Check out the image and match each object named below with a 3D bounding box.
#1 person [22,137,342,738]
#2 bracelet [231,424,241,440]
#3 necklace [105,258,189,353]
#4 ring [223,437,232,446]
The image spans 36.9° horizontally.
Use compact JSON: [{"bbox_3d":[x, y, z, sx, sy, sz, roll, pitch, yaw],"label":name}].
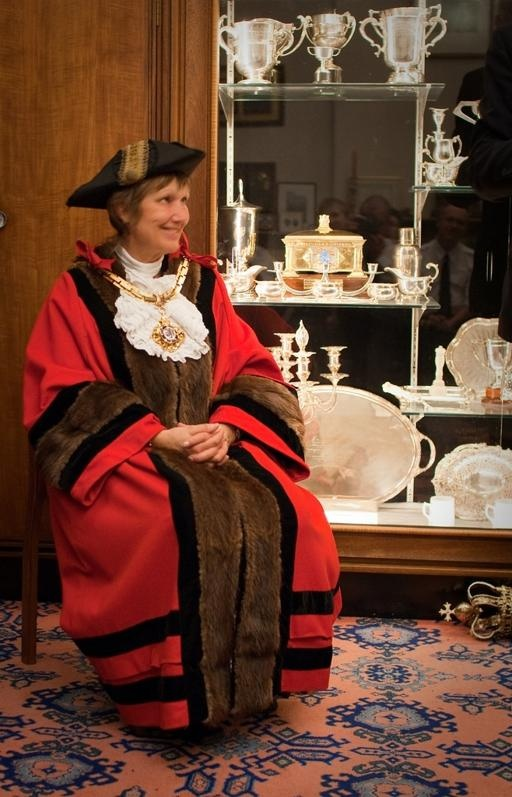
[{"bbox_3d":[-0.175,0.030,1.839,0.627,1.333,0.637,-1,1,-35],"label":"person"},{"bbox_3d":[-0.050,0.088,1.914,0.028,0.030,0.034,-3,-4,-22],"label":"bracelet"},{"bbox_3d":[-0.272,-0.245,1.975,0.171,0.035,0.248,-13,47,-34],"label":"necklace"},{"bbox_3d":[-0.069,0.105,1.858,0.016,0.016,0.020,0,3,2],"label":"ring"}]
